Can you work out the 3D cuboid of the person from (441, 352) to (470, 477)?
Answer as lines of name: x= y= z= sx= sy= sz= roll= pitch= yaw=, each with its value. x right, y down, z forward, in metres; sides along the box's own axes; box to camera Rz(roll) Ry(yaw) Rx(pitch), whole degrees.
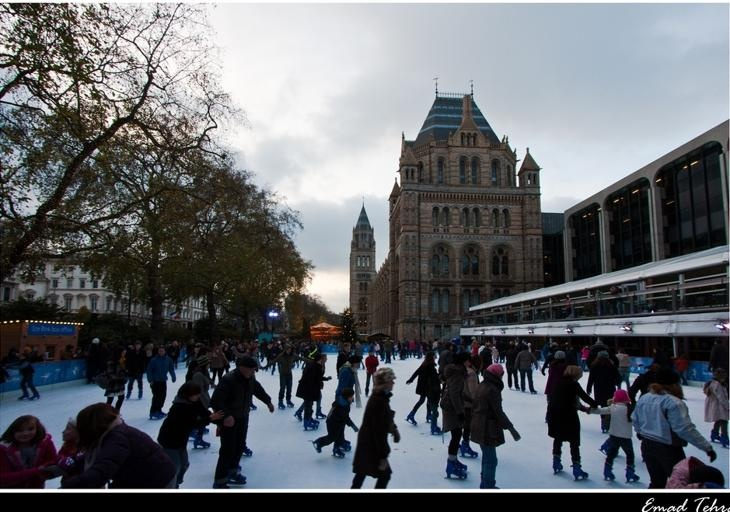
person: x=1.997 y=3.508 z=11.815 sx=0.609 sy=2.674 sz=0.807 roll=1 pitch=-11 yaw=9

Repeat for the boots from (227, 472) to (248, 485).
boots: x=-2.657 y=4.660 z=11.062 sx=0.457 sy=0.313 sz=0.195 roll=0 pitch=-1 yaw=-6

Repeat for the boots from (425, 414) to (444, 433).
boots: x=1.956 y=4.631 z=14.500 sx=0.336 sy=0.510 sz=0.627 roll=1 pitch=-11 yaw=8

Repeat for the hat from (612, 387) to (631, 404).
hat: x=5.458 y=3.022 z=11.354 sx=0.321 sy=0.401 sz=0.431 roll=5 pitch=17 yaw=26

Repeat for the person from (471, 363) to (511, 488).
person: x=2.602 y=3.471 z=10.803 sx=0.861 sy=2.516 sz=1.256 roll=0 pitch=-11 yaw=15

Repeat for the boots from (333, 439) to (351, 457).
boots: x=-0.556 y=4.569 z=12.695 sx=0.352 sy=0.324 sz=0.498 roll=-3 pitch=0 yaw=2

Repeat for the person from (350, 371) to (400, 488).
person: x=0.171 y=3.225 z=9.907 sx=0.709 sy=2.231 sz=0.441 roll=3 pitch=-11 yaw=1

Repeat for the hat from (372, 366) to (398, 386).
hat: x=0.399 y=2.323 z=10.225 sx=0.442 sy=0.231 sz=0.292 roll=-2 pitch=5 yaw=-42

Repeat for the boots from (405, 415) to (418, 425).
boots: x=1.371 y=4.838 z=15.692 sx=0.301 sy=0.306 sz=0.469 roll=2 pitch=-11 yaw=4

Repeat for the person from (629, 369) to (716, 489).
person: x=5.697 y=3.271 z=9.950 sx=1.042 sy=2.244 sz=0.496 roll=-6 pitch=-14 yaw=38

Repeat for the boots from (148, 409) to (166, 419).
boots: x=-6.245 y=4.797 z=16.007 sx=0.225 sy=0.210 sz=0.463 roll=3 pitch=-1 yaw=28

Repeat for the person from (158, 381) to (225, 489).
person: x=-3.336 y=3.585 z=10.253 sx=1.256 sy=2.165 sz=0.716 roll=2 pitch=5 yaw=-10

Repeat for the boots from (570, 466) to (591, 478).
boots: x=4.602 y=4.637 z=11.296 sx=0.343 sy=0.312 sz=0.289 roll=1 pitch=-11 yaw=12

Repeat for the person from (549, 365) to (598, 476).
person: x=4.491 y=3.633 z=11.688 sx=0.870 sy=2.417 sz=1.357 roll=-1 pitch=-11 yaw=18

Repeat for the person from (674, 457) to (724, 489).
person: x=5.387 y=3.591 z=8.638 sx=0.446 sy=0.515 sz=0.789 roll=6 pitch=-11 yaw=-17
